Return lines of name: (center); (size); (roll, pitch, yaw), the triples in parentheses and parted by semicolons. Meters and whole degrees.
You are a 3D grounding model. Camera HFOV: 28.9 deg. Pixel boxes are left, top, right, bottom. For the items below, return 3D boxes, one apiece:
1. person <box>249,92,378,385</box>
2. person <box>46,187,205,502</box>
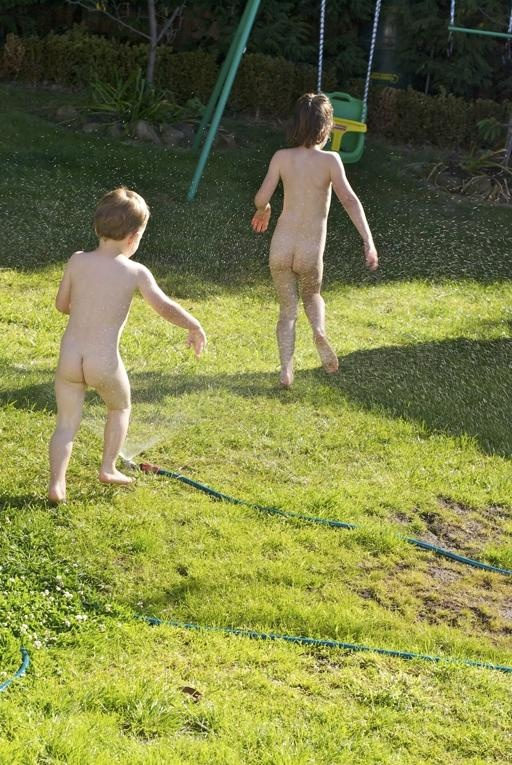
person: (0.289, -0.745, 5.449); (0.700, 1.614, 0.399); (11, 12, 3)
person: (-0.545, -0.133, 3.961); (0.525, 1.262, 0.268); (8, 12, -13)
